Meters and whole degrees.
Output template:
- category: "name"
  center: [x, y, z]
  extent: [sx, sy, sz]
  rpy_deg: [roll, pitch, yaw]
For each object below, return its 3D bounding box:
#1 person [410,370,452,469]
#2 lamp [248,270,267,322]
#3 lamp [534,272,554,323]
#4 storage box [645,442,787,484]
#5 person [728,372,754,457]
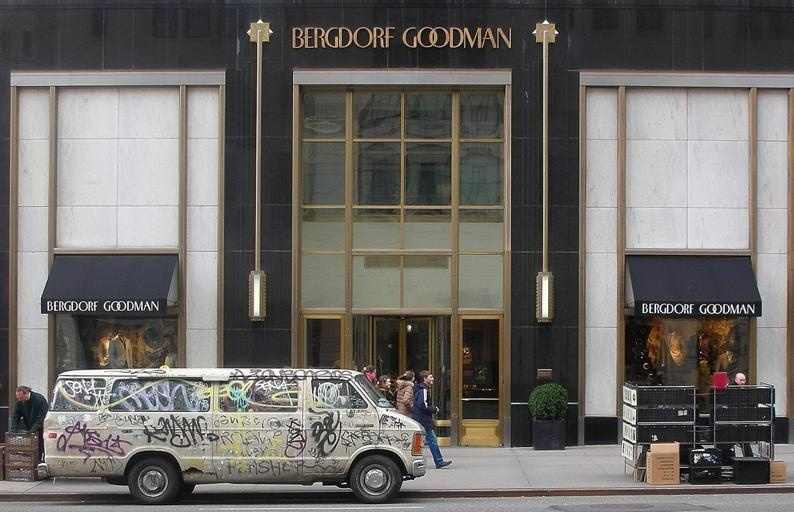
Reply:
- category: "person"
  center: [0.799, 4.644, 49.967]
  extent: [1.117, 2.674, 1.130]
  rpy_deg: [-6, 1, -7]
- category: "lamp"
  center: [-4.184, 1.216, 52.868]
  extent: [0.544, 1.512, 0.306]
  rpy_deg: [-1, -6, -6]
- category: "lamp"
  center: [4.387, 1.247, 52.715]
  extent: [0.540, 1.489, 0.340]
  rpy_deg: [-2, -6, 4]
- category: "storage box"
  center: [8.690, 5.703, 48.637]
  extent: [3.817, 1.150, 0.830]
  rpy_deg: [-2, -6, 8]
- category: "person"
  center: [9.640, 4.433, 49.215]
  extent: [0.564, 2.355, 0.618]
  rpy_deg: [2, 0, -7]
